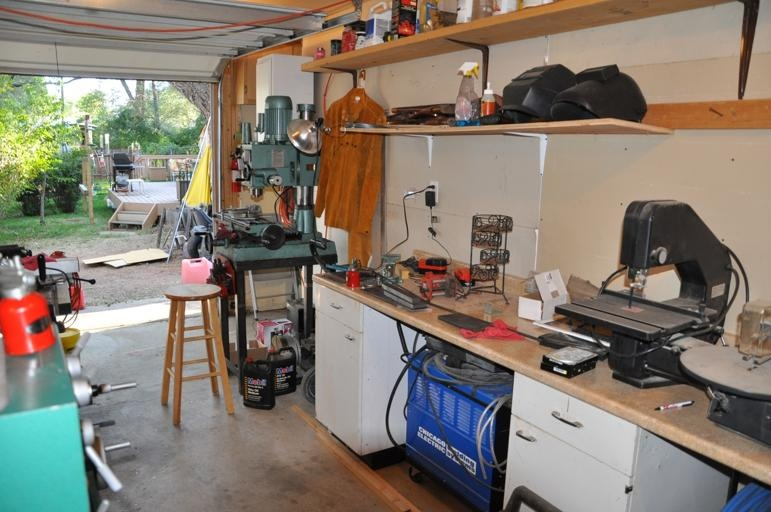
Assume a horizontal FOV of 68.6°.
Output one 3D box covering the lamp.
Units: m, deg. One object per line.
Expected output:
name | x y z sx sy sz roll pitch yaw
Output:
lamp | -0.404 -0.963 4.444 0.787 0.374 0.381 4 37 18

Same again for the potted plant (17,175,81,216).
potted plant | -7.078 -1.272 11.948 0.950 0.362 0.694 -10 24 -24

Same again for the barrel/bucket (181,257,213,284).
barrel/bucket | -1.984 0.157 5.970 0.287 0.275 0.156 -2 15 -21

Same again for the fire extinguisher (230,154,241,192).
fire extinguisher | -1.575 -0.880 5.977 0.091 0.418 0.472 -3 10 -13

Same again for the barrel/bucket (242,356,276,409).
barrel/bucket | -0.971 0.968 4.248 0.282 0.355 0.099 3 11 18

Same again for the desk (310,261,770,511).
desk | 0.790 0.658 2.827 1.423 0.590 0.451 18 13 41
